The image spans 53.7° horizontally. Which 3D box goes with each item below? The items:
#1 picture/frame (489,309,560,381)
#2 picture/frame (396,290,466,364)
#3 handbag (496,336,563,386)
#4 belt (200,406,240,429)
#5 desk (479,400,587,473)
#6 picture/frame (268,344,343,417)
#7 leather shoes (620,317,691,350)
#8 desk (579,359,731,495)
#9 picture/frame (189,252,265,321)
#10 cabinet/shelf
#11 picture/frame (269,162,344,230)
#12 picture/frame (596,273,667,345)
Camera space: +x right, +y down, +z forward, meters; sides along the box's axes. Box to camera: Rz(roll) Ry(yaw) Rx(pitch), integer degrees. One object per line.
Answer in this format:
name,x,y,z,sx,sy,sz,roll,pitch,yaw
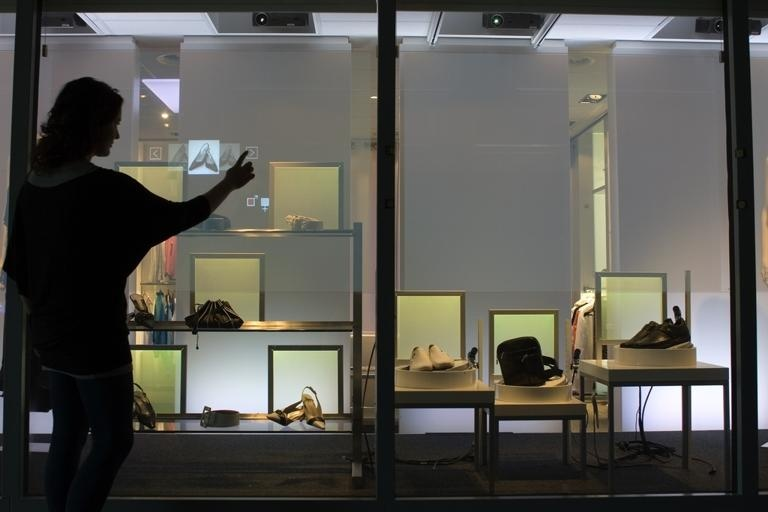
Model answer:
picture/frame,0.759,0.479,4.002,0.397,0.417,0.018,0,-3,4
picture/frame,0.235,0.367,4.001,0.416,0.367,0.027,0,0,-4
handbag,0.740,0.576,4.057,0.328,0.231,0.225,6,-30,-32
belt,-0.873,0.840,3.985,0.150,0.081,0.109,1,4,-11
desk,0.945,1.045,4.080,0.627,0.380,0.627,-3,-24,21
picture/frame,-0.423,0.666,4.029,0.409,0.361,0.025,0,-4,-4
leather shoes,1.479,0.415,4.075,0.296,0.110,0.162,-1,-7,-2
desk,1.517,0.886,4.303,0.824,0.595,0.804,-1,-1,30
picture/frame,-0.829,0.130,4.048,0.413,0.446,0.040,7,-49,-19
cabinet/shelf,-0.686,0.535,4.365,1.381,1.169,0.671,-4,-2,14
picture/frame,-0.418,-0.308,4.065,0.428,0.374,0.039,-2,4,-27
picture/frame,1.319,0.291,4.051,0.411,0.385,0.014,0,2,0
